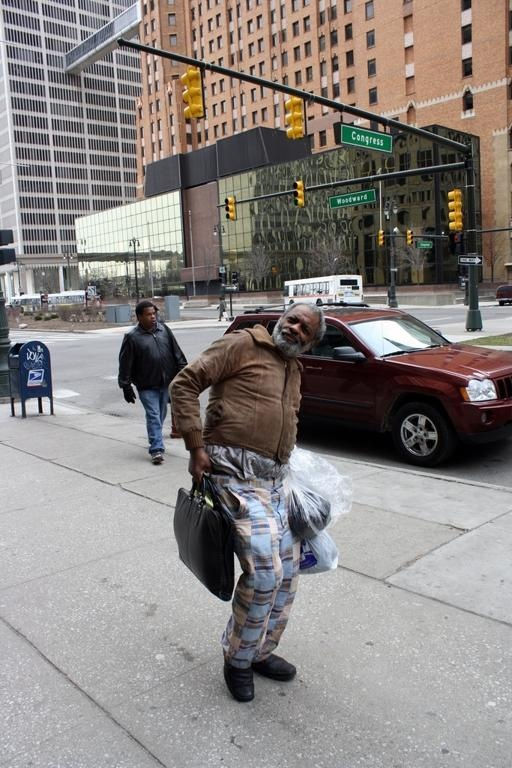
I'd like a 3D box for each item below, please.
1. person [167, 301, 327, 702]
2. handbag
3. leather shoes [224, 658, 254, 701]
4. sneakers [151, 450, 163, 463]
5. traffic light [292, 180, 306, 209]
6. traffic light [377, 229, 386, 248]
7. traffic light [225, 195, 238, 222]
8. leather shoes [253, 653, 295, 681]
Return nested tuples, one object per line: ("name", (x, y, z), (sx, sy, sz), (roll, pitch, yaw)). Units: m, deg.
("person", (-0.073, 0.495, 2.345), (0.494, 1.459, 0.541), (1, 4, 13))
("handbag", (-0.194, 0.633, 2.223), (0.195, 0.526, 0.405), (-2, 5, -18))
("leather shoes", (-0.064, 1.171, 2.238), (0.118, 0.137, 0.105), (-1, 4, -3))
("sneakers", (-1.118, 0.845, 6.403), (0.062, 0.118, 0.207), (8, -1, -29))
("traffic light", (1.619, -7.202, 21.344), (0.379, 0.884, 1.240), (0, 5, 9))
("traffic light", (9.366, -10.891, 41.892), (0.300, 1.139, 1.652), (1, 5, 17))
("traffic light", (-1.099, -7.656, 24.549), (0.403, 1.062, 0.923), (-1, 5, -9))
("leather shoes", (0.084, 1.207, 2.441), (0.187, 0.089, 0.078), (-2, 1, 30))
